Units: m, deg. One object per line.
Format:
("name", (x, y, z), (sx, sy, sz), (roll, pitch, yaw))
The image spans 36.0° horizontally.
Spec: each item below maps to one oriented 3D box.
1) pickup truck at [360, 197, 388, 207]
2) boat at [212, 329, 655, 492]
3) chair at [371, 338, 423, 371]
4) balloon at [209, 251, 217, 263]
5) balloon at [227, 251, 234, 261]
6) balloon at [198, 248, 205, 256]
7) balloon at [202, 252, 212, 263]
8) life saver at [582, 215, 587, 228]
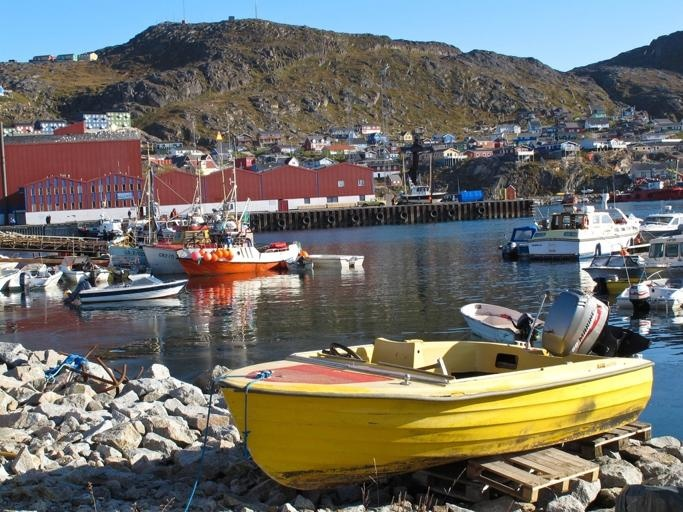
("pickup truck", (2.831, -4.650, 92.837), (2.270, 0.579, 1.160), (-2, 5, -4))
("boat", (1.600, 2.624, 18.277), (6.336, 1.652, 3.219), (-2, -1, -26))
("chair", (1.002, 1.794, 19.062), (0.700, 0.254, 0.651), (1, 4, 26))
("balloon", (-5.445, 0.083, 44.791), (0.420, 0.452, 0.365), (-6, 21, 3))
("balloon", (-4.790, -0.008, 45.203), (0.170, 0.439, 0.250), (-2, 7, 17))
("balloon", (-5.940, -0.131, 44.646), (0.272, 0.269, 0.259), (5, 16, 32))
("balloon", (-5.665, 0.088, 44.722), (0.432, 0.421, 0.347), (2, 45, 11))
("life saver", (10.661, -1.475, 45.986), (0.293, 0.504, 0.139), (-3, 7, 7))
